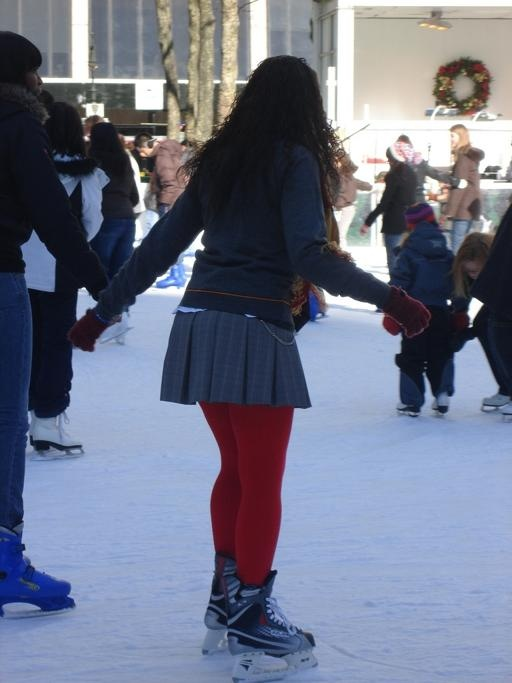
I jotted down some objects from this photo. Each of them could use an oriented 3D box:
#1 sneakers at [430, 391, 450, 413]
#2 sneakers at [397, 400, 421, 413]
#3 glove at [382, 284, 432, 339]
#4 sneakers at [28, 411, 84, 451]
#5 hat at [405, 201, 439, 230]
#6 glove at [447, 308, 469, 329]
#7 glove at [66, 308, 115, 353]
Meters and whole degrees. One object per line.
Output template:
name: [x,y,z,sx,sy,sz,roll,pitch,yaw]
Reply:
sneakers: [1.067,0.368,6.200,0.089,0.121,0.123,7,54,0]
sneakers: [0.883,0.390,6.155,0.052,0.056,0.130,4,-3,-31]
glove: [0.397,-0.078,2.785,0.102,0.149,0.168,5,10,21]
sneakers: [-0.967,0.459,5.181,0.299,0.257,0.140,1,-1,-15]
hat: [0.997,-0.771,6.357,0.142,0.164,0.179,-24,-4,-10]
glove: [1.177,-0.138,6.253,0.135,0.104,0.190,1,31,9]
glove: [-0.474,-0.029,3.040,0.123,0.120,0.048,34,-8,9]
